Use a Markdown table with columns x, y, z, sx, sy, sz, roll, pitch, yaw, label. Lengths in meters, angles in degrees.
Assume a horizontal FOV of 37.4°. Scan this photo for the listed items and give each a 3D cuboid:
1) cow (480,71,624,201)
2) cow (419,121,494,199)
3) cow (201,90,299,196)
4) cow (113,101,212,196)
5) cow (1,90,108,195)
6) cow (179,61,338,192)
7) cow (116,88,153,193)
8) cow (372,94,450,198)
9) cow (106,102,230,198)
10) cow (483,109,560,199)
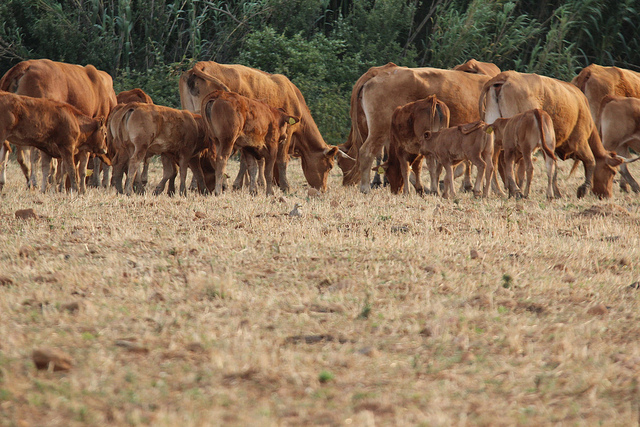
| x | y | z | sx | sy | sz | roll | pitch | yaw | label |
| --- | --- | --- | --- | --- | --- | --- | --- | --- | --- |
| 5.383 | -1.570 | 20.884 | 4.576 | 2.580 | 1.357 | 14 | -16 | -34 | cow |
| 2.836 | -1.141 | 19.857 | 1.872 | 1.552 | 0.655 | -4 | -3 | 40 | cow |
| -1.458 | -1.478 | 20.664 | 1.026 | 2.322 | 3.109 | -1 | -1 | 32 | cow |
| -3.162 | -1.362 | 20.533 | 0.890 | 2.228 | 3.088 | 0 | -3 | 39 | cow |
| -5.572 | -1.572 | 19.817 | 2.236 | 2.208 | 0.590 | -16 | 27 | -39 | cow |
| -1.356 | -1.817 | 22.409 | 1.309 | 2.955 | 5.297 | -6 | -6 | 31 | cow |
| -4.177 | -1.615 | 21.685 | 1.016 | 2.018 | 3.481 | 4 | 1 | -4 | cow |
| 2.146 | -1.394 | 21.091 | 0.931 | 2.349 | 3.340 | 0 | -11 | -17 | cow |
| -3.276 | -1.589 | 21.498 | 0.859 | 2.590 | 3.393 | 6 | 4 | 38 | cow |
| 4.229 | -1.256 | 19.885 | 1.015 | 1.874 | 2.396 | -3 | -1 | -14 | cow |
